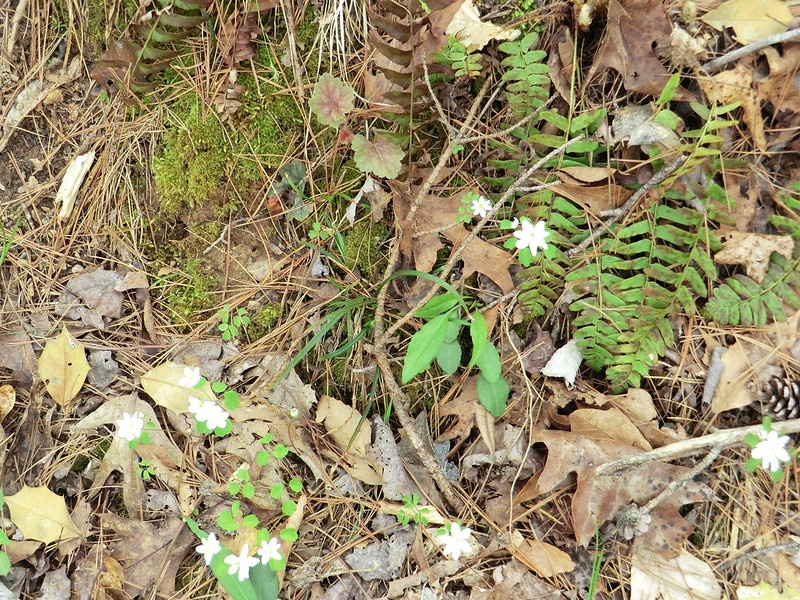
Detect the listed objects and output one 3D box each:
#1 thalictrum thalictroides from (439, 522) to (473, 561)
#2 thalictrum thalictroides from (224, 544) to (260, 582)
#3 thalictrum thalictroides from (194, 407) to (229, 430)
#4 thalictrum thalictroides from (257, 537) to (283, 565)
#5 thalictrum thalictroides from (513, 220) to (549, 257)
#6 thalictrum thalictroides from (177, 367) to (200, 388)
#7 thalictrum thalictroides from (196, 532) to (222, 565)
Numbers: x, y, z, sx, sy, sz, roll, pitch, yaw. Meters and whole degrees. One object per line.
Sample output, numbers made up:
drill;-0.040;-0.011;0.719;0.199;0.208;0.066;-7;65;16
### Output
thalictrum thalictroides;0.289;1.265;3.743;0.201;0.251;0.183;-6;55;1
thalictrum thalictroides;-0.798;1.315;3.605;0.131;0.107;0.152;35;66;24
thalictrum thalictroides;-0.971;0.612;3.731;0.156;0.098;0.110;-23;58;-10
thalictrum thalictroides;-0.667;1.287;3.666;0.118;0.138;0.108;-18;56;-8
thalictrum thalictroides;0.666;-0.301;3.630;0.170;0.139;0.166;4;57;7
thalictrum thalictroides;-1.108;0.401;3.815;0.117;0.083;0.117;-13;57;-4
thalictrum thalictroides;-0.950;1.268;3.651;0.118;0.179;0.108;33;64;24
